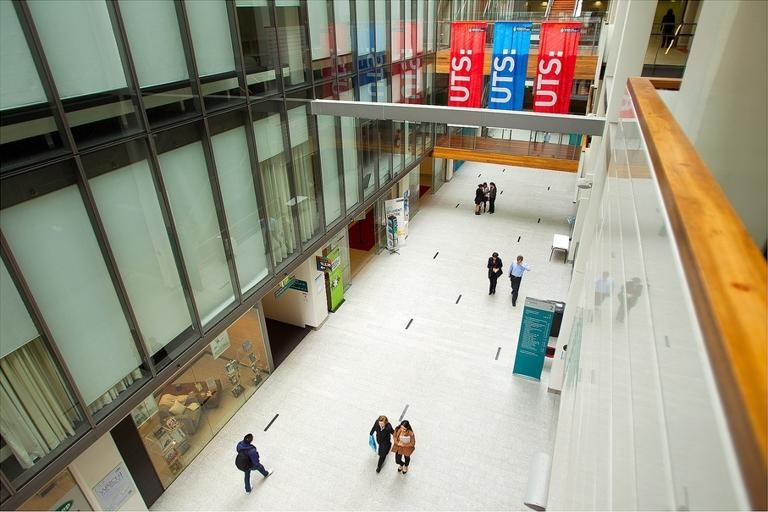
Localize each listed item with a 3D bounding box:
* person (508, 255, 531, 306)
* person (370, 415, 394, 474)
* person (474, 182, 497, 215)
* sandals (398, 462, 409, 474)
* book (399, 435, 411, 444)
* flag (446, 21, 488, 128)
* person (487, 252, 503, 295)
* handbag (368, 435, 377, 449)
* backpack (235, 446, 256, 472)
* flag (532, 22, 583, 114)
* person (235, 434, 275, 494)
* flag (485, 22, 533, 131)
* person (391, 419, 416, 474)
[{"bbox_3d":[3.998,0.680,13.609,0.465,1.535,0.663,13,30,20],"label":"person"},{"bbox_3d":[-0.039,3.767,9.229,0.477,1.222,0.599,1,28,-2],"label":"person"},{"bbox_3d":[4.427,-2.554,19.545,0.853,1.357,1.357,8,29,12],"label":"person"},{"bbox_3d":[0.407,4.328,9.263,0.170,0.231,0.075,1,-1,21],"label":"sandals"},{"bbox_3d":[0.414,3.583,8.854,0.243,0.178,0.139,4,36,11],"label":"book"},{"bbox_3d":[2.255,-5.277,12.506,1.088,2.155,0.730,16,31,25],"label":"flag"},{"bbox_3d":[3.443,0.480,14.098,0.408,1.449,0.670,7,29,10],"label":"person"},{"bbox_3d":[-0.238,3.863,9.409,0.202,0.426,0.193,-10,58,3],"label":"handbag"},{"bbox_3d":[-2.685,3.912,8.641,0.319,0.505,0.176,9,29,13],"label":"backpack"},{"bbox_3d":[4.664,-5.117,12.291,1.016,2.207,1.007,4,28,4],"label":"flag"},{"bbox_3d":[-2.599,4.229,9.099,0.583,1.329,0.822,22,44,20],"label":"person"},{"bbox_3d":[3.327,-5.008,11.979,0.971,2.103,0.825,4,28,4],"label":"flag"},{"bbox_3d":[0.379,3.807,9.127,0.418,1.218,0.423,3,28,1],"label":"person"}]
